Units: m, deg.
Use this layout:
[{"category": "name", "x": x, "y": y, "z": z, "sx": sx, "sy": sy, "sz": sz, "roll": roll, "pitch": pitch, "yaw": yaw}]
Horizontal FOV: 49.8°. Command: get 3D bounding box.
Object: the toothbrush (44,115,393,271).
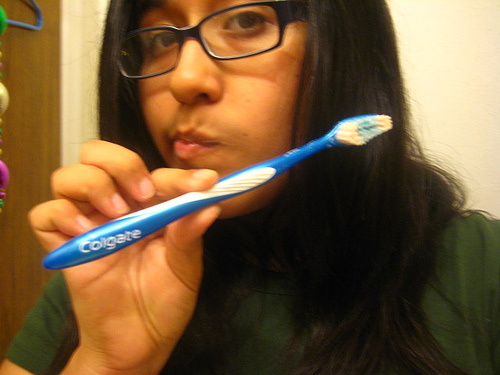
[{"category": "toothbrush", "x": -0.027, "y": 0.007, "z": 0.652, "sx": 0.446, "sy": 0.052, "sz": 0.037, "roll": -22, "pitch": 9, "yaw": -1}]
